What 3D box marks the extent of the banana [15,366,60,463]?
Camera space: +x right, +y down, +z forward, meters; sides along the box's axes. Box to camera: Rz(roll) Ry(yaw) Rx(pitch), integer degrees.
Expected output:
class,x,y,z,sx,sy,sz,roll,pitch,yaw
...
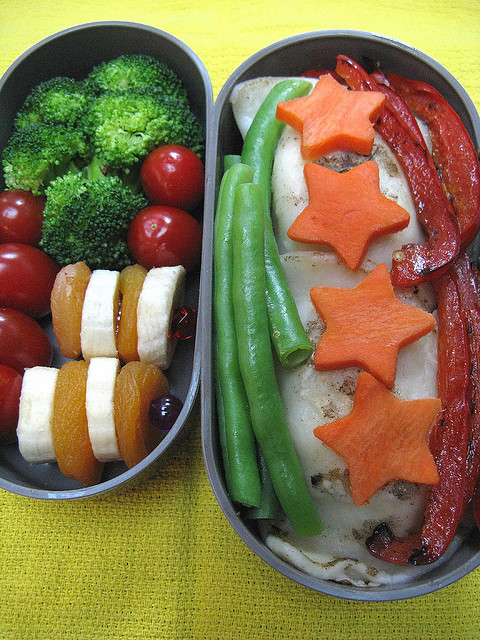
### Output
class,x,y,z,sx,sy,sz,roll,pitch,yaw
banana,-0.382,0.181,1.263,0.103,0.173,0.180,3,85,-9

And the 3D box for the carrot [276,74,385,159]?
class,x,y,z,sx,sy,sz,roll,pitch,yaw
carrot,0.176,-0.383,1.257,0.159,0.037,0.155,-43,67,-3

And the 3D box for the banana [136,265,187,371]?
class,x,y,z,sx,sy,sz,roll,pitch,yaw
banana,-0.160,-0.006,1.317,0.054,0.158,0.157,7,42,-2

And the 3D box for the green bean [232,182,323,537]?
class,x,y,z,sx,sy,sz,roll,pitch,yaw
green bean,0.041,0.074,1.208,0.096,0.091,0.800,-2,77,-17

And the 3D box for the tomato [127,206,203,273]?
class,x,y,z,sx,sy,sz,roll,pitch,yaw
tomato,-0.161,-0.167,1.410,0.156,0.113,0.122,-5,71,-4

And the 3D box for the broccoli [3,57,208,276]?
class,x,y,z,sx,sy,sz,roll,pitch,yaw
broccoli,-0.286,-0.308,1.511,0.425,0.233,0.497,-4,75,14
